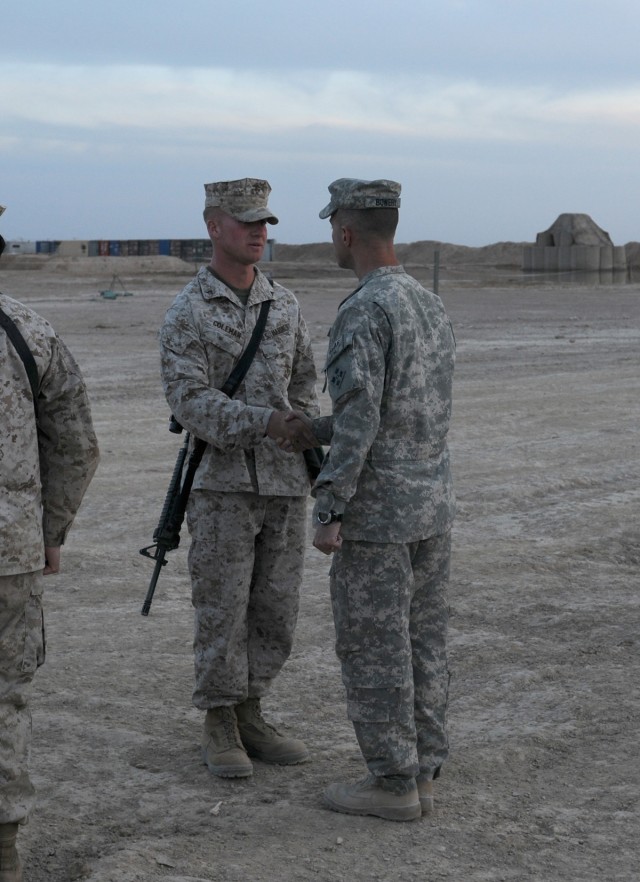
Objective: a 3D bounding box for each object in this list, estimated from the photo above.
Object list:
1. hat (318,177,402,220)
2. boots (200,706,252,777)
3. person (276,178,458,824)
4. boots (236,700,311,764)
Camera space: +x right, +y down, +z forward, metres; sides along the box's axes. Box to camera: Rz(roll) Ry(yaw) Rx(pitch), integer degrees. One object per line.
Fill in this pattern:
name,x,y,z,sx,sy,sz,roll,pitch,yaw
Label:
hat,0.108,-0.697,2.789,0.223,0.106,0.114,3,9,13
boots,-0.312,0.960,3.186,0.122,0.170,0.309,-1,7,-14
person,0.175,0.172,2.840,0.475,1.842,0.539,3,10,7
boots,-0.181,0.986,3.309,0.322,0.167,0.111,1,-8,32
